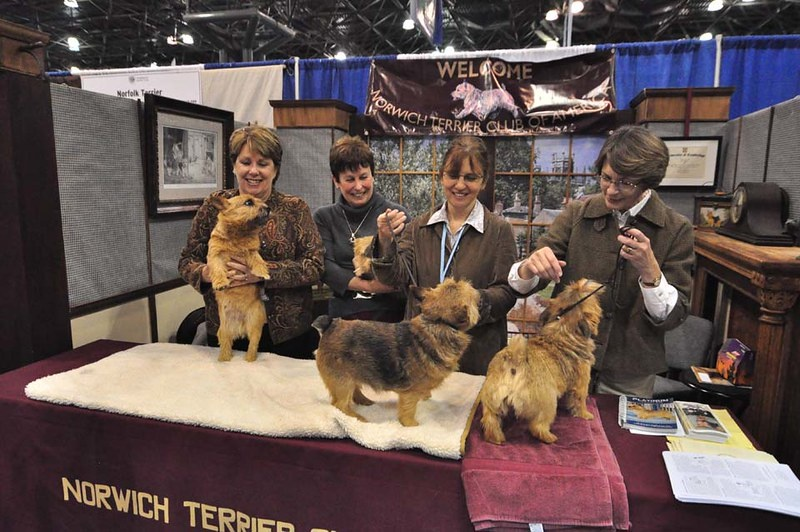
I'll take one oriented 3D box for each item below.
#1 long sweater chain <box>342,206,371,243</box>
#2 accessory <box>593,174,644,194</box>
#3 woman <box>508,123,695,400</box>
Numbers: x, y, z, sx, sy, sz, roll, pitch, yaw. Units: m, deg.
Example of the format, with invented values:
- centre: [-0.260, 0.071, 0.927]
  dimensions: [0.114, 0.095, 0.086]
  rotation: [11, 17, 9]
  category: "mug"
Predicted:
- centre: [-0.319, -0.311, 4.111]
  dimensions: [0.308, 0.367, 0.028]
  rotation: [2, -26, 6]
  category: "long sweater chain"
- centre: [1.281, -0.502, 3.288]
  dimensions: [0.120, 0.095, 0.248]
  rotation: [-8, 15, -40]
  category: "accessory"
- centre: [1.246, 0.163, 3.642]
  dimensions: [1.170, 2.059, 0.938]
  rotation: [-1, 20, 1]
  category: "woman"
